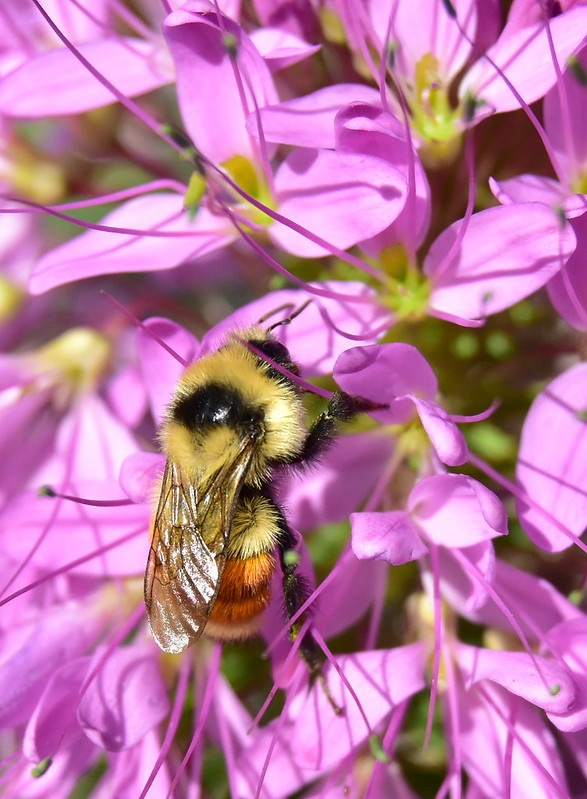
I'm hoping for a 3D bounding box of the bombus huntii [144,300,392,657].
[{"bbox_3d":[0.000,0.085,0.839,0.251,0.104,0.316,-10,64,39],"label":"bombus huntii"}]
